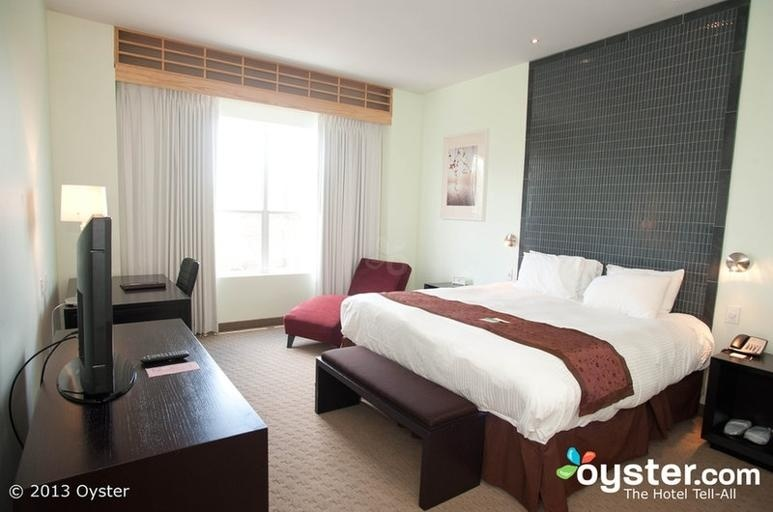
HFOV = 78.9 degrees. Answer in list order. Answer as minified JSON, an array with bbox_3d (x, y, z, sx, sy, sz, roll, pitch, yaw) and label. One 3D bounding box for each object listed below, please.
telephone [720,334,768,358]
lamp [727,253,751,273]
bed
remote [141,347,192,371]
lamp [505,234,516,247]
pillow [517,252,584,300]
[{"bbox_3d":[2.962,0.681,3.834,0.203,0.084,0.214,-28,21,-35],"label":"telephone"},{"bbox_3d":[2.984,0.054,3.973,0.155,0.159,0.060,2,-2,43],"label":"lamp"},{"bbox_3d":[1.430,0.858,3.680,1.860,0.718,1.816,-6,11,-34],"label":"bed"},{"bbox_3d":[-1.356,0.630,2.887,0.190,0.041,0.103,-5,9,-29],"label":"remote"},{"bbox_3d":[1.448,-0.182,5.446,0.128,0.153,0.136,4,9,14],"label":"lamp"},{"bbox_3d":[1.713,0.189,4.861,0.157,0.460,0.523,26,-12,-32],"label":"pillow"}]
